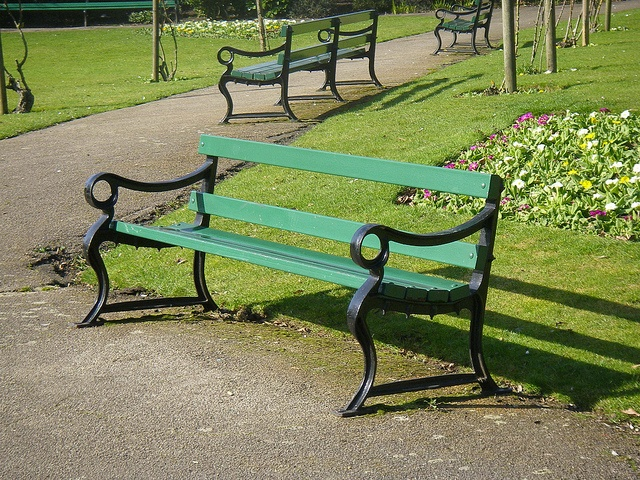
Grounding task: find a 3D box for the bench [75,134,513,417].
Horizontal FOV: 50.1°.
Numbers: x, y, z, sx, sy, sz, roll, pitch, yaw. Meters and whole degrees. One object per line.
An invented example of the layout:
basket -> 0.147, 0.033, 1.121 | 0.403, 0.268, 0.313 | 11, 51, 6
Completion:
bench -> -0.194, 0.306, 5.271 | 2.476, 0.920, 1.153 | 10, 12, 44
